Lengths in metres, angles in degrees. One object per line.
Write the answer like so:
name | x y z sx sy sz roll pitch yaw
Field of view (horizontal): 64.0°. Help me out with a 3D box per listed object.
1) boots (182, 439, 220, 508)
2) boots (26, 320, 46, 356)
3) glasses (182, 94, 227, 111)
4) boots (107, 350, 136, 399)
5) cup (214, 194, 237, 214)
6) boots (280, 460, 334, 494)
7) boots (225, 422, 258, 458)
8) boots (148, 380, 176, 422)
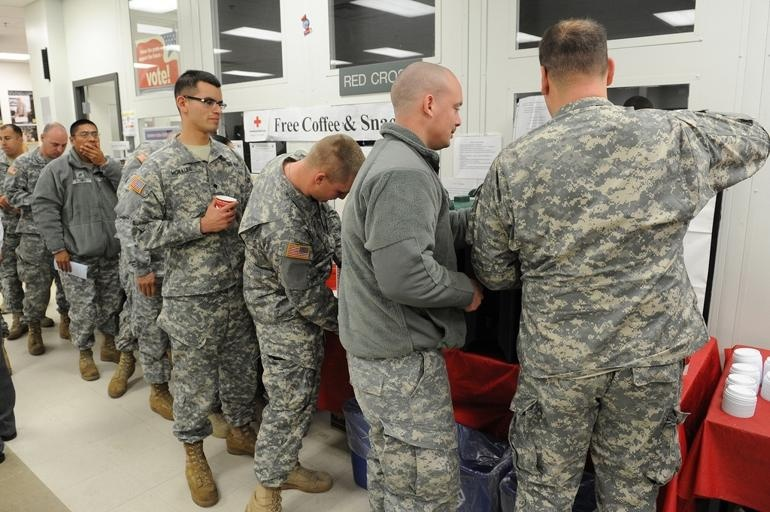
boots | -1.077 1.298 3.678 0.162 0.298 0.437 -7 8 -34
boots | -3.114 0.711 5.515 0.138 0.247 0.381 -4 16 -32
glasses | -1.058 -0.916 3.663 0.246 0.086 0.121 -7 15 -28
boots | -2.010 0.916 4.754 0.154 0.246 0.413 2 21 -2
cup | -0.902 -0.306 3.507 0.098 0.067 0.086 -2 29 -31
boots | -0.441 1.322 3.722 0.389 0.162 0.149 1 30 -4
boots | -0.874 1.210 4.001 0.249 0.096 0.226 1 49 -2
boots | -1.567 1.026 4.456 0.272 0.244 0.126 17 19 27
